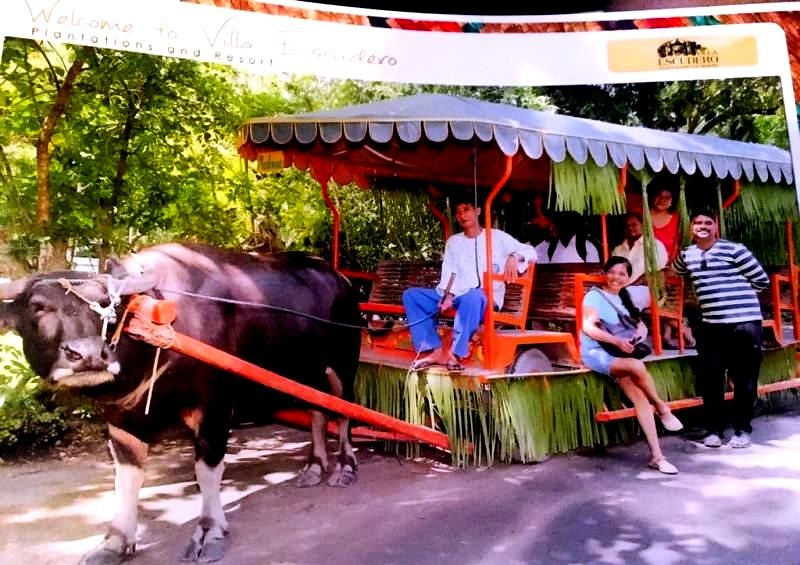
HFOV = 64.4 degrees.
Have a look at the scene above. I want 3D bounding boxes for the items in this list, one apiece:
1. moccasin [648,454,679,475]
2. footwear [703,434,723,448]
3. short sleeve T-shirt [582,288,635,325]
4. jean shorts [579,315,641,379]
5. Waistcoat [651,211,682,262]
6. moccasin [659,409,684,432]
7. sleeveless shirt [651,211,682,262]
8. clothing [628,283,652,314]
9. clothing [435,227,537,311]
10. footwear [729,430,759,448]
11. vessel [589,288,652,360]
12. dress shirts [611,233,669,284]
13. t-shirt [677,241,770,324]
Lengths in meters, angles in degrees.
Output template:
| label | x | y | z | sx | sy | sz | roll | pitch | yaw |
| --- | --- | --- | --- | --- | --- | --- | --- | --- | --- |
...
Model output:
| label | x | y | z | sx | sy | sz | roll | pitch | yaw |
| --- | --- | --- | --- | --- | --- | --- | --- | --- | --- |
| moccasin | 1.415 | 0.996 | 3.441 | 0.061 | 0.045 | 0.108 | -16 | 11 | -36 |
| footwear | 1.754 | 0.902 | 3.587 | 0.104 | 0.076 | 0.077 | -3 | -1 | 21 |
| short sleeve T-shirt | 1.373 | 0.148 | 4.124 | 0.315 | 0.141 | 0.198 | 34 | 5 | 3 |
| jean shorts | 1.274 | 0.399 | 3.958 | 0.334 | 0.385 | 0.156 | 1 | -3 | 4 |
| Waistcoat | 1.654 | -0.270 | 3.965 | 0.203 | 0.307 | 0.155 | 9 | -24 | -5 |
| moccasin | 1.559 | 0.811 | 3.691 | 0.065 | 0.048 | 0.118 | -37 | 21 | 3 |
| sleeveless shirt | 1.654 | -0.270 | 3.965 | 0.203 | 0.307 | 0.155 | 9 | -24 | -5 |
| clothing | 1.557 | 0.095 | 4.163 | 0.107 | 0.207 | 0.099 | -8 | 5 | -11 |
| clothing | 0.602 | -0.087 | 4.530 | 0.669 | 0.563 | 0.336 | 2 | 4 | 14 |
| footwear | 1.887 | 0.889 | 3.554 | 0.116 | 0.093 | 0.113 | -3 | -1 | 29 |
| vessel | 1.407 | 0.261 | 4.058 | 0.298 | 0.511 | 0.172 | -21 | -10 | 19 |
| dress shirts | 1.526 | -0.140 | 4.023 | 0.246 | 0.225 | 0.258 | -4 | -6 | 31 |
| t-shirt | 1.912 | 0.019 | 3.876 | 0.454 | 0.492 | 0.277 | -9 | -36 | 20 |
